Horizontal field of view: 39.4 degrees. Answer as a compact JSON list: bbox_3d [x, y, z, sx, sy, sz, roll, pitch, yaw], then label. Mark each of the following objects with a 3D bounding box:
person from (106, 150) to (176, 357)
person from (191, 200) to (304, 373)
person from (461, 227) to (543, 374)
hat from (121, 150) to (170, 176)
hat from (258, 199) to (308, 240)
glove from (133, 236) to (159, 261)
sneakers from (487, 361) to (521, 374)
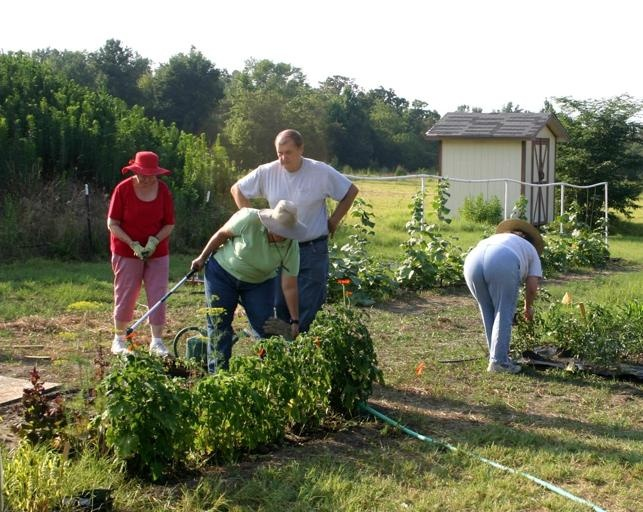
[{"bbox_3d":[-1.844,-0.011,9.194,0.657,2.091,0.648,-1,11,-13],"label":"person"},{"bbox_3d":[-0.690,0.302,8.213,0.959,1.480,0.626,1,11,-4],"label":"person"},{"bbox_3d":[1.888,0.403,9.350,0.757,1.563,0.646,5,12,19],"label":"person"},{"bbox_3d":[-1.821,-0.954,9.268,0.417,0.280,0.623,-2,13,-16],"label":"hat"},{"bbox_3d":[-0.361,-0.324,7.884,0.435,0.329,0.202,4,12,10],"label":"hat"},{"bbox_3d":[-1.769,-0.081,9.065,0.216,0.230,0.095,12,-12,3],"label":"glove"},{"bbox_3d":[1.892,1.168,9.307,0.338,0.153,0.128,-1,10,0],"label":"sneakers"}]
